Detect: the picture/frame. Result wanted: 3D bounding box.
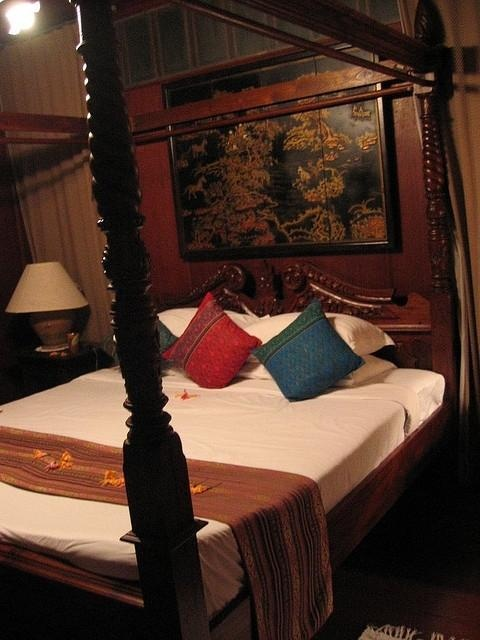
[{"bbox_3d":[0.301,-1.096,3.299,1.781,1.157,0.069,1,10,31],"label":"picture/frame"}]

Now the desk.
[{"bbox_3d":[-1.365,0.332,4.105,0.500,0.583,0.638,1,8,8],"label":"desk"}]

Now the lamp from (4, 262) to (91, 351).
[{"bbox_3d":[-1.450,-0.127,4.152,0.717,0.717,0.705,-1,17,1],"label":"lamp"}]
